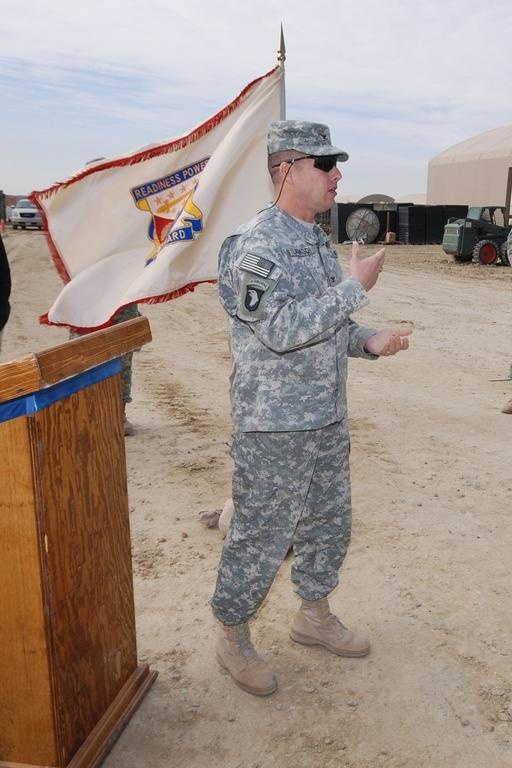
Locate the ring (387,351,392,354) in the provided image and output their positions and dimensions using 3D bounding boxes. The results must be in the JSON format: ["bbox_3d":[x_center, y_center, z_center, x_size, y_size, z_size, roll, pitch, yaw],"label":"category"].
[{"bbox_3d":[0.388,-0.089,1.942,0.010,0.010,0.006,28,-25,-24],"label":"ring"}]

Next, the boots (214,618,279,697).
[{"bbox_3d":[-0.038,0.839,2.066,0.085,0.170,0.253,-6,11,-35],"label":"boots"}]

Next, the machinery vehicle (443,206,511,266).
[{"bbox_3d":[5.619,-3.755,17.051,1.495,1.409,0.797,5,12,18],"label":"machinery vehicle"}]

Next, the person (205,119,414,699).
[{"bbox_3d":[0.116,0.136,1.868,0.562,1.688,0.782,4,12,13],"label":"person"}]
